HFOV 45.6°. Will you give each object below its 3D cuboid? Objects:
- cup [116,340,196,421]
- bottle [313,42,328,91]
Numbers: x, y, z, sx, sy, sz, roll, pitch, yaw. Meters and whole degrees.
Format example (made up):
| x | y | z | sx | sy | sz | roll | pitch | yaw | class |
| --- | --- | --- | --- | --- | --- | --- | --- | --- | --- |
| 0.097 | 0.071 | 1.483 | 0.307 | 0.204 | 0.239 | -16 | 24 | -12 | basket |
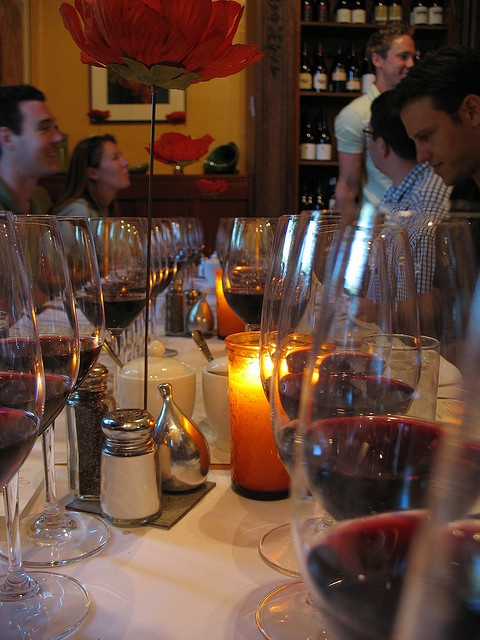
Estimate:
| x | y | z | sx | sy | sz | roll | pitch | yaw | class |
| --- | --- | --- | --- | --- | --- | --- | --- | --- | --- |
| -0.094 | 0.069 | 0.677 | 0.089 | 0.088 | 0.090 | 0 | -1 | 0 | cup |
| 0.546 | -1.722 | 3.901 | 0.100 | 0.353 | 0.182 | 0 | 6 | 7 | bottle |
